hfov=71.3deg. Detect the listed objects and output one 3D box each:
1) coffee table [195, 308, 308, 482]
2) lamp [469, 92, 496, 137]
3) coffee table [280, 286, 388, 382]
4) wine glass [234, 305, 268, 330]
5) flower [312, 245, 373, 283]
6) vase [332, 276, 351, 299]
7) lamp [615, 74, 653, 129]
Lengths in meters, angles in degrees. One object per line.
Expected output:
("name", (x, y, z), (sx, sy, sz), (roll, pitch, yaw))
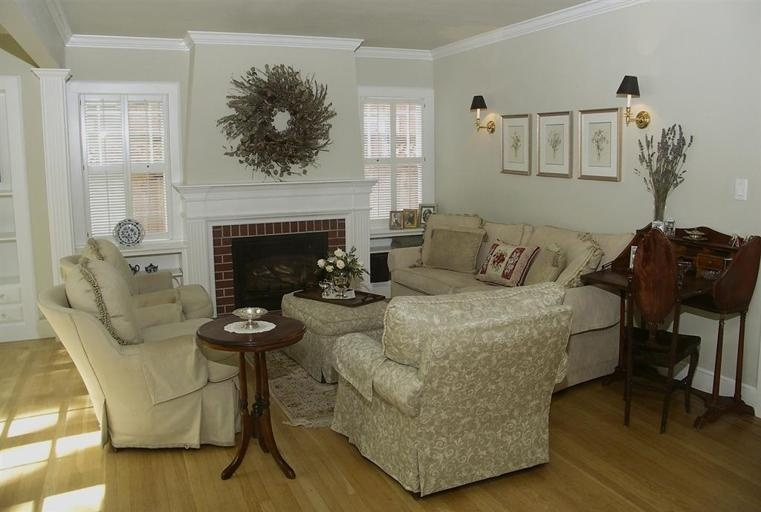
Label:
("coffee table", (-0.818, 0.951, 3.905), (1.032, 1.210, 0.989), (-1, 5, -3))
("lamp", (1.249, -1.700, 6.407), (0.294, 0.462, 0.361), (1, 12, 9))
("coffee table", (-0.439, 0.617, 4.896), (0.702, 0.440, 0.900), (-6, 11, -34))
("wine glass", (-0.928, 0.448, 3.790), (0.207, 0.087, 0.203), (-1, 8, -23))
("flower", (-0.391, 0.106, 5.352), (0.474, 0.384, 0.464), (1, -1, -34))
("vase", (-0.332, 0.316, 5.252), (0.199, 0.215, 0.205), (0, -1, 32))
("lamp", (2.232, -1.381, 4.777), (0.265, 0.461, 0.314), (-7, 14, -26))
